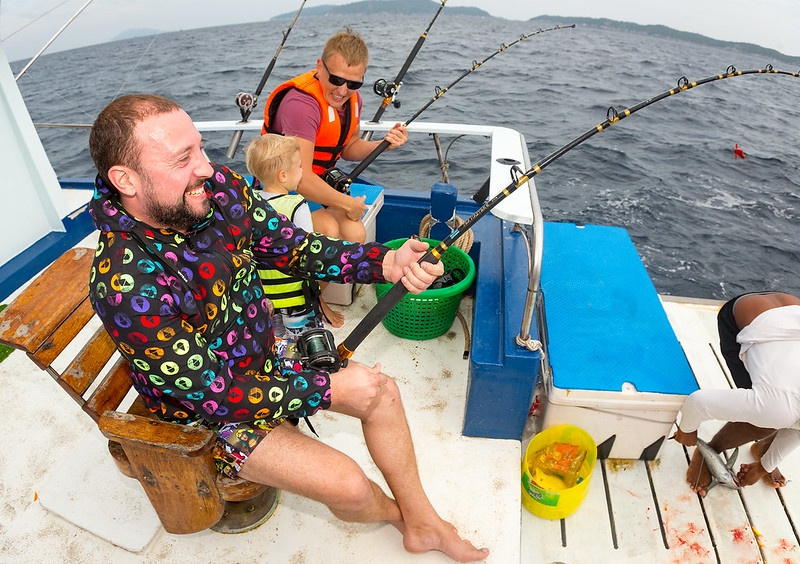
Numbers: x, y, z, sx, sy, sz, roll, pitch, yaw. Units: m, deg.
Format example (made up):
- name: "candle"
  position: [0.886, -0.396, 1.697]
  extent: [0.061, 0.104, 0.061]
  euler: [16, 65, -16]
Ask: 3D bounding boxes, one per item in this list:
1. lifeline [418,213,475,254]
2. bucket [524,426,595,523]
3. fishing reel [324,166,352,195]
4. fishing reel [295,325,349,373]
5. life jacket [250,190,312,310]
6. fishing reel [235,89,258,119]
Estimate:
- name: "lifeline"
  position: [0.314, -0.346, 4.012]
  extent: [0.342, 0.291, 0.382]
  euler: [15, 21, 31]
- name: "bucket"
  position: [0.853, 1.029, 3.218]
  extent: [0.345, 0.412, 0.340]
  euler: [3, 35, -2]
- name: "fishing reel"
  position: [-0.397, -0.668, 3.852]
  extent: [0.136, 0.068, 0.187]
  euler: [-8, 45, -49]
- name: "fishing reel"
  position: [-0.386, 0.331, 2.830]
  extent: [0.184, 0.201, 0.199]
  euler: [26, 24, -50]
- name: "life jacket"
  position: [-0.623, -0.169, 3.047]
  extent: [0.309, 0.569, 0.415]
  euler: [-28, 39, -36]
- name: "fishing reel"
  position: [-1.081, -1.224, 4.124]
  extent: [0.064, 0.194, 0.147]
  euler: [15, 53, 1]
